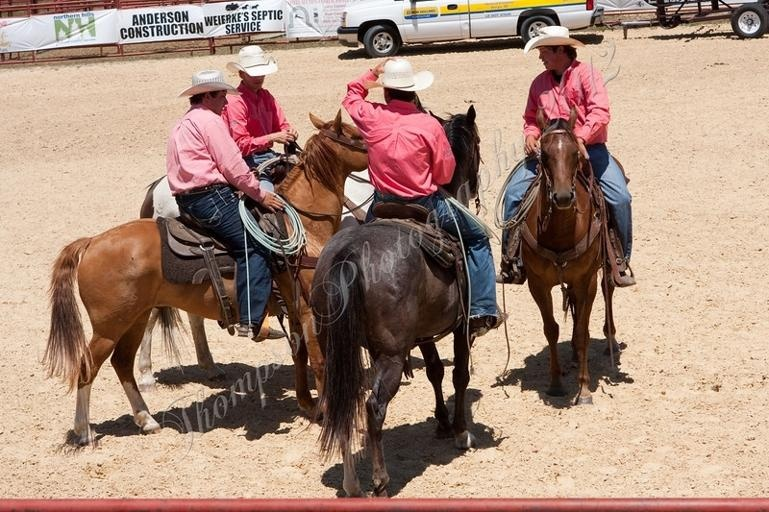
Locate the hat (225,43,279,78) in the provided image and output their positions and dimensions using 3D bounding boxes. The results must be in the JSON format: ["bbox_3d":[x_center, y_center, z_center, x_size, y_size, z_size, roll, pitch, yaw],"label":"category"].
[{"bbox_3d":[-1.728,-2.578,13.376,0.620,0.292,0.721,-2,6,-8],"label":"hat"}]

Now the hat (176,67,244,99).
[{"bbox_3d":[-2.068,-2.190,12.144,0.578,0.193,0.517,-10,5,-30],"label":"hat"}]

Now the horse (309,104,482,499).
[{"bbox_3d":[0.215,0.947,11.442,1.072,3.314,2.751,8,23,37],"label":"horse"}]

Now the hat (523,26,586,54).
[{"bbox_3d":[2.184,-2.779,12.645,0.641,0.228,0.485,-3,2,-9],"label":"hat"}]

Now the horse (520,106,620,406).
[{"bbox_3d":[2.324,-0.025,12.619,1.058,3.666,1.252,9,24,37],"label":"horse"}]

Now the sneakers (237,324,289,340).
[{"bbox_3d":[-1.523,0.970,12.435,0.683,0.246,0.225,-3,16,-38],"label":"sneakers"}]

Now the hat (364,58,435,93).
[{"bbox_3d":[0.266,-2.139,11.678,0.685,0.407,0.498,-14,19,-29],"label":"hat"}]

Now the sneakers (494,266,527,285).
[{"bbox_3d":[1.711,0.283,13.229,0.346,0.130,0.243,0,4,-3],"label":"sneakers"}]
